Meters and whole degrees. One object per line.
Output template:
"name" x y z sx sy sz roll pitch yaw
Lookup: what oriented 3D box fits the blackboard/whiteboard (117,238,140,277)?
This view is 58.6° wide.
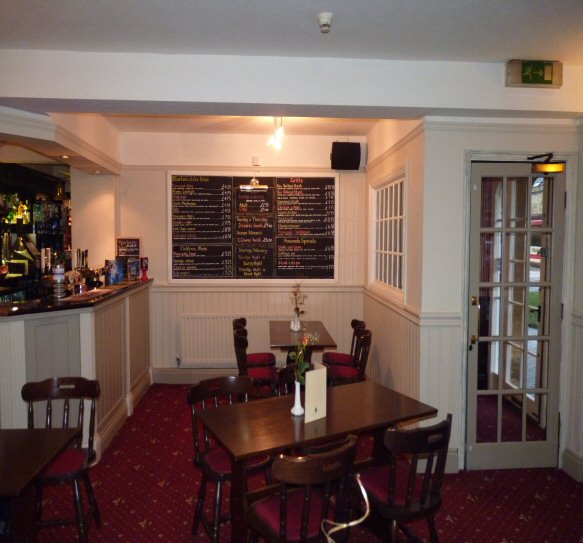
"blackboard/whiteboard" -1.922 -0.155 6.091 0.252 0.536 0.051 0 24 -19

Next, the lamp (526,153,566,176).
"lamp" 1.981 -0.836 4.060 0.245 0.186 0.161 1 10 9

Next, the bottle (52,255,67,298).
"bottle" -2.050 0.032 4.562 0.086 0.379 0.088 4 14 -1

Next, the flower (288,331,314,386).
"flower" 0.035 0.597 3.262 0.149 0.405 0.166 10 -1 -4

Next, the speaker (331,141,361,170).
"speaker" 0.625 -1.323 5.984 0.286 0.342 0.243 2 -8 1

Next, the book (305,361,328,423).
"book" 0.142 0.729 3.076 0.098 0.327 0.300 1 2 8
